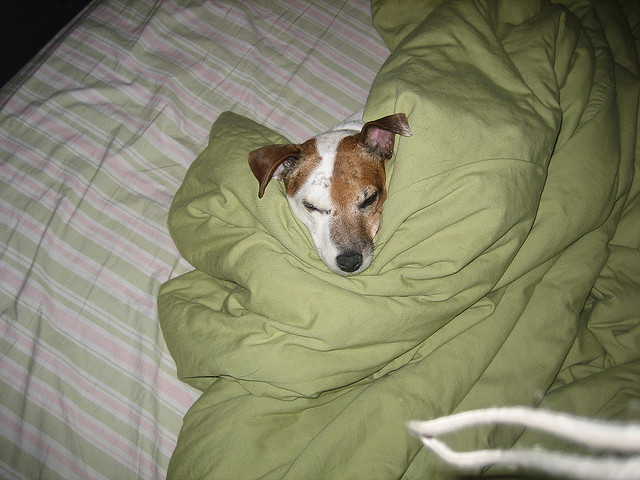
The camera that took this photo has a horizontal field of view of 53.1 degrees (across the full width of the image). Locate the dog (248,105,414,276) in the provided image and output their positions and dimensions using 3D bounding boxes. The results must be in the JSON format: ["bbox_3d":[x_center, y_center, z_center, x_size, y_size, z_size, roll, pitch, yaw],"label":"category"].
[{"bbox_3d":[0.082,-0.378,3.940,0.648,0.612,1.308,31,54,-32],"label":"dog"}]
